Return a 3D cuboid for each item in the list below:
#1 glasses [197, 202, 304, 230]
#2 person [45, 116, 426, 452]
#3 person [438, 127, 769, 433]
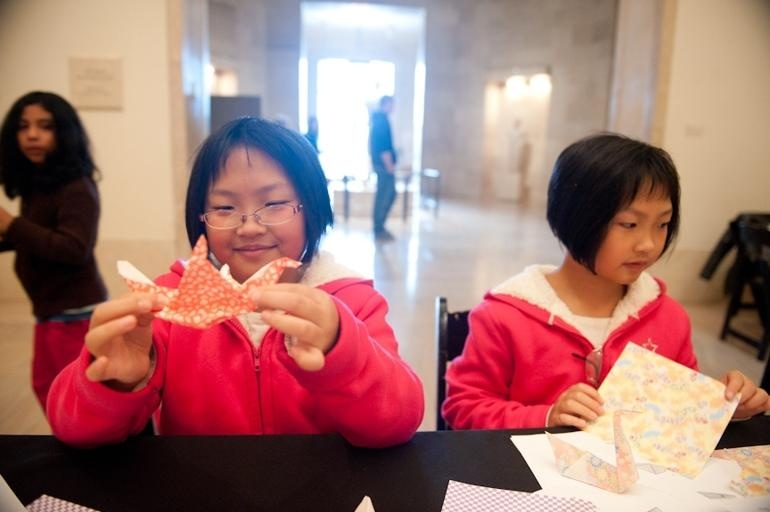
[{"bbox_3d":[-0.279,-0.086,1.224,0.205,0.058,0.053,-1,13,-5],"label":"glasses"},{"bbox_3d":[-0.276,0.068,1.193,0.714,0.691,0.466,2,14,7],"label":"person"},{"bbox_3d":[0.485,0.087,1.317,0.690,0.713,0.417,2,14,5],"label":"person"}]
